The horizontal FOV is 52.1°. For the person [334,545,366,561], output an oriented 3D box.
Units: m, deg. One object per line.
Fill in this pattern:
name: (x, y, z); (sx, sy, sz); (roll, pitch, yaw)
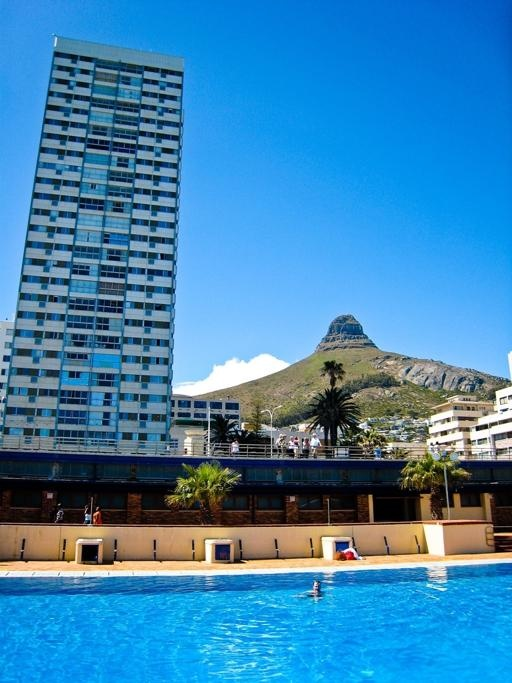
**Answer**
person: (4.651, 10.810, 26.634); (1.228, 0.556, 1.283); (-14, -17, 33)
